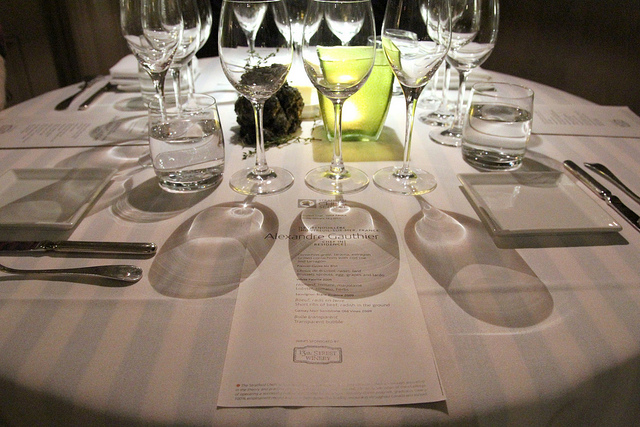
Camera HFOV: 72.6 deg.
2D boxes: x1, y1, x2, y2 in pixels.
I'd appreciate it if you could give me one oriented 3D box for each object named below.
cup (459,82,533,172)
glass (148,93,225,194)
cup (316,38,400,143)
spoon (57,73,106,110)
[{"bbox_3d":[0.436,-0.217,1.079,0.181,0.198,0.181,-1,23,1],"label":"cup"},{"bbox_3d":[-0.302,-0.143,0.983,0.156,0.174,0.161,-2,18,3],"label":"glass"},{"bbox_3d":[0.115,-0.324,1.287,0.263,0.339,0.288,0,36,0],"label":"cup"},{"bbox_3d":[-0.800,-0.424,1.467,0.100,0.011,0.342,7,27,-6],"label":"spoon"}]
